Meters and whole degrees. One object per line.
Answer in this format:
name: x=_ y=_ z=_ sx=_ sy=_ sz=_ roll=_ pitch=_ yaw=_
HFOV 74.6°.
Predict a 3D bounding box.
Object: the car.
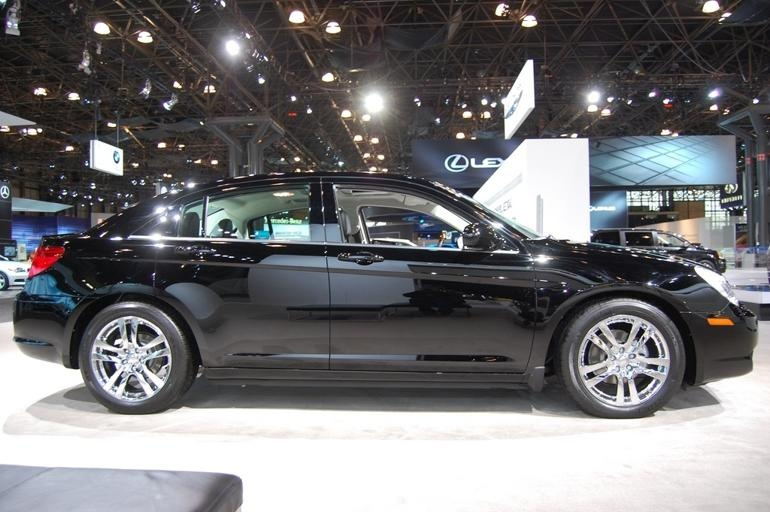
car: x=0.002 y=0.289 z=5.047 sx=7.006 sy=1.384 sz=2.342 roll=0 pitch=-2 yaw=1
